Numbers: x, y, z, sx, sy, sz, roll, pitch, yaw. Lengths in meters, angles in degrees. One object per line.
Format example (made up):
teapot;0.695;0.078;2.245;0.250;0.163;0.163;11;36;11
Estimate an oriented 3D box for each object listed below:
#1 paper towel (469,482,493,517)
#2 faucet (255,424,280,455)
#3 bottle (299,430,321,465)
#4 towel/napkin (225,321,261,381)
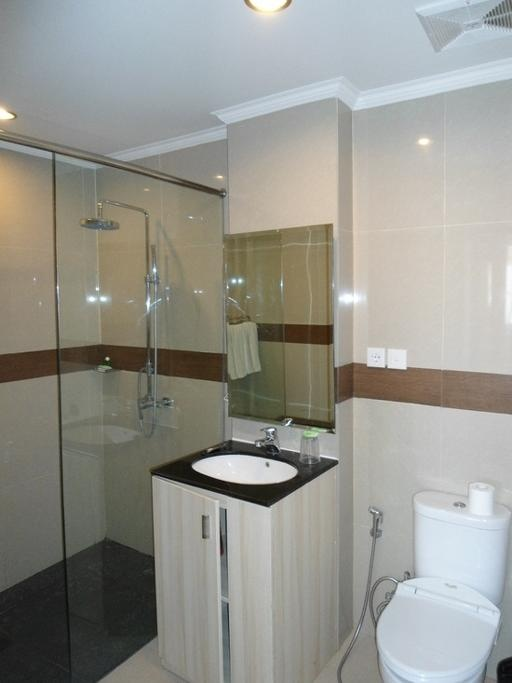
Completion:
paper towel;0.788;0.547;1.913;0.076;0.112;0.079;-1;-2;39
faucet;0.055;0.408;2.288;0.051;0.160;0.153;-3;-6;33
bottle;0.213;0.416;2.149;0.079;0.111;0.120;2;12;6
towel/napkin;-0.050;0.036;2.342;0.154;0.281;0.125;-7;-9;29
